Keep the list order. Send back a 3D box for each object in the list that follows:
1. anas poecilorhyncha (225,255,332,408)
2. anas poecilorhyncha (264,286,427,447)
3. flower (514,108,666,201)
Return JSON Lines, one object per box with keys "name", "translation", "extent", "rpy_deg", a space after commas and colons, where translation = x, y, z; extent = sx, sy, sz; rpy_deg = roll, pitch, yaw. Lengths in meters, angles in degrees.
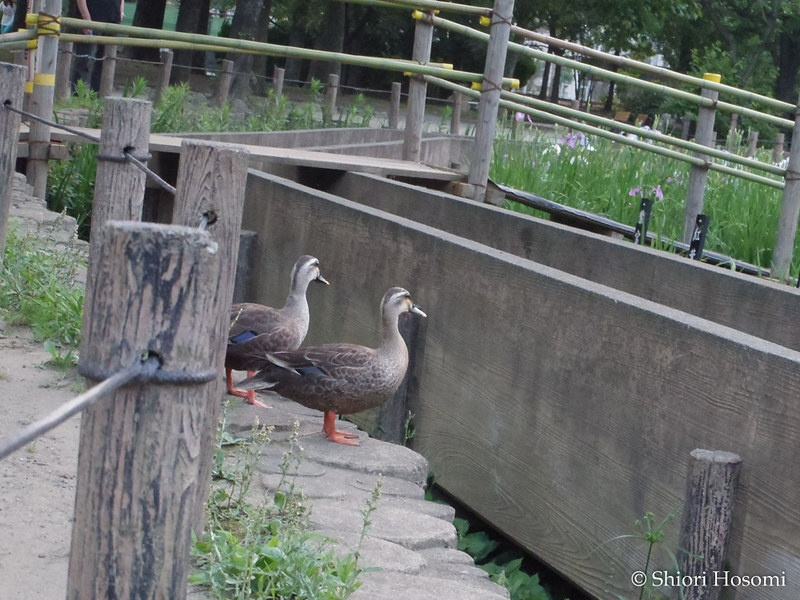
{"name": "anas poecilorhyncha", "translation": [-0.786, 0.138, 5.080], "extent": [0.809, 0.775, 0.375], "rpy_deg": [3, 11, -38]}
{"name": "anas poecilorhyncha", "translation": [-0.320, 0.388, 4.575], "extent": [0.722, 0.602, 0.233], "rpy_deg": [6, 10, -11]}
{"name": "flower", "translation": [2.111, -1.351, 9.726], "extent": [1.315, 0.746, 1.353], "rpy_deg": [13, 12, -28]}
